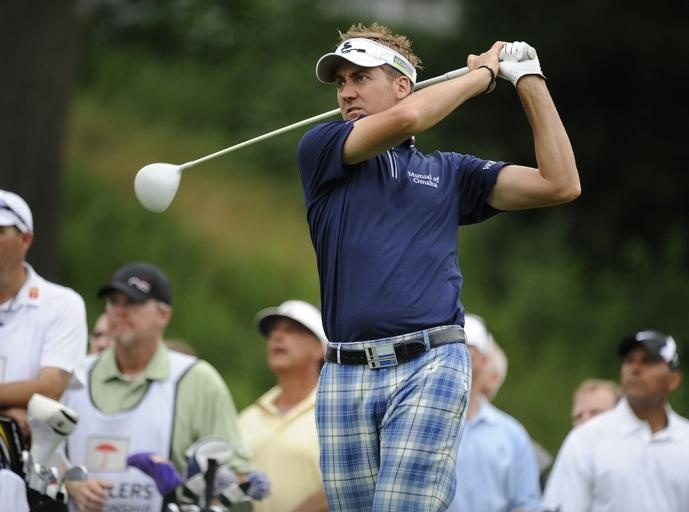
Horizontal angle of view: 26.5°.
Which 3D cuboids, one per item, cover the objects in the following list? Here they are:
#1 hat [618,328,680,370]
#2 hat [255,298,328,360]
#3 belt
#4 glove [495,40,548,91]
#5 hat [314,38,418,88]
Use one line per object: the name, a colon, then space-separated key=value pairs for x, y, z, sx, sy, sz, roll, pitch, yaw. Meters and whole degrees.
hat: x=2.354 y=0.717 z=11.207 sx=0.432 sy=0.339 sz=0.247 roll=-9 pitch=-11 yaw=6
hat: x=-0.379 y=0.497 z=11.251 sx=0.412 sy=0.142 sz=0.423 roll=23 pitch=-19 yaw=4
belt: x=0.330 y=0.589 z=9.255 sx=0.895 sy=0.223 sz=0.158 roll=-10 pitch=-11 yaw=6
glove: x=1.147 y=-1.274 z=9.531 sx=0.235 sy=0.313 sz=0.136 roll=-27 pitch=-17 yaw=-6
hat: x=0.172 y=-1.277 z=9.559 sx=0.499 sy=0.311 sz=0.607 roll=-6 pitch=-2 yaw=45
